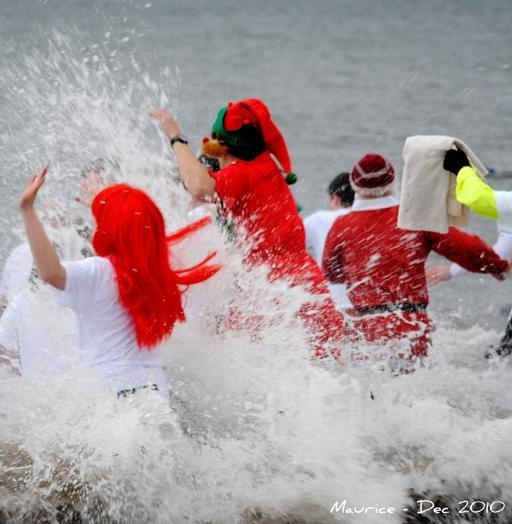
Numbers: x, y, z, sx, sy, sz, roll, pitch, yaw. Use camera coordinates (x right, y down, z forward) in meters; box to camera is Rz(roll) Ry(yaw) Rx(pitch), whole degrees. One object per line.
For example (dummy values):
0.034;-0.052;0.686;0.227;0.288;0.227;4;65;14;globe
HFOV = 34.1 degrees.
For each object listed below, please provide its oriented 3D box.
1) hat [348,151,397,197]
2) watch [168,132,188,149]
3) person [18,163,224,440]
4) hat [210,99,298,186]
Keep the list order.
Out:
0.625;-0.482;4.507;0.218;0.194;0.225;1;11;10;hat
-0.406;-0.626;4.295;0.102;0.044;0.056;-4;39;13;watch
-0.603;0.509;4.357;0.941;2.055;0.447;-9;32;-23;person
-0.011;-0.616;4.463;0.316;0.490;0.351;-68;18;-6;hat
